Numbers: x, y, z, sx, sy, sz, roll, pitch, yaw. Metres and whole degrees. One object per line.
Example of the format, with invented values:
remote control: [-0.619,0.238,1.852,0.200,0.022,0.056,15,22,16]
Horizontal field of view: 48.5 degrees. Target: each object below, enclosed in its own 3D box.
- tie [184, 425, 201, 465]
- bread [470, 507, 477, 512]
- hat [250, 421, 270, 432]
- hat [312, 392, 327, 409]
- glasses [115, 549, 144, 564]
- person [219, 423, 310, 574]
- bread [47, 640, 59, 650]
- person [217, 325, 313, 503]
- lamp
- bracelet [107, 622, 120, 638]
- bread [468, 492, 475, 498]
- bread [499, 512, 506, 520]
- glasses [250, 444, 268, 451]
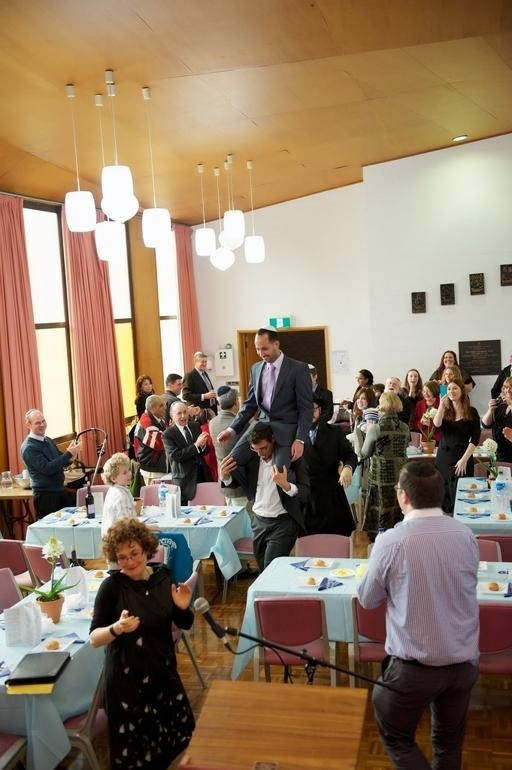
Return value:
tie: [-0.680,0.598,5.913,0.114,0.326,0.244,0,-13,-7]
bread: [1.674,0.957,4.381,0.039,0.037,0.020,-5,-35,21]
hat: [0.020,0.265,3.600,0.061,0.080,0.078,3,-13,-40]
hat: [0.466,0.114,4.268,0.115,0.109,0.090,8,9,-14]
glasses: [-0.494,0.659,2.201,0.073,0.025,0.077,2,22,0]
person: [0.054,0.881,3.808,0.576,1.221,0.452,0,1,4]
bread: [-0.944,1.205,2.638,0.053,0.017,0.110,-8,4,-21]
person: [0.060,0.252,4.027,0.642,1.214,0.649,-2,10,14]
lamp: [-1.116,-2.600,6.816,0.823,1.561,2.434,-1,2,39]
bracelet: [-0.512,0.890,2.077,0.053,0.037,0.053,18,6,-9]
bread: [1.851,0.946,4.892,0.034,0.023,0.040,0,5,2]
bread: [1.810,0.965,4.182,0.038,0.023,0.038,1,0,-8]
glasses: [0.022,0.393,3.593,0.057,0.037,0.071,-3,-1,17]
